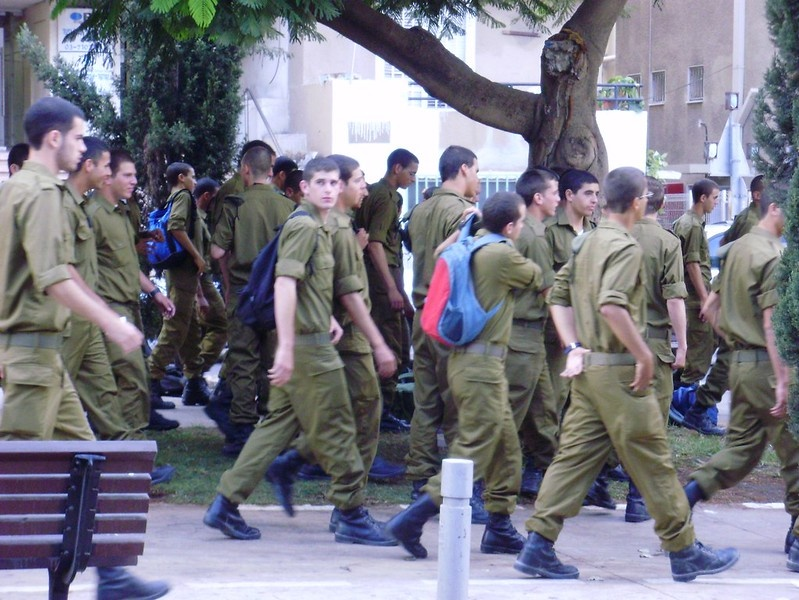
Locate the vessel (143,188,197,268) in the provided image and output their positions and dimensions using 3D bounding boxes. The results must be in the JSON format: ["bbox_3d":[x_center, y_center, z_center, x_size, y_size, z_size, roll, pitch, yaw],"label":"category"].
[{"bbox_3d":[-2.289,-0.663,11.581,0.449,0.801,0.553,-6,8,-24],"label":"vessel"}]

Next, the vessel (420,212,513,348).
[{"bbox_3d":[0.420,-0.068,7.965,0.503,0.825,0.585,5,10,-15],"label":"vessel"}]
